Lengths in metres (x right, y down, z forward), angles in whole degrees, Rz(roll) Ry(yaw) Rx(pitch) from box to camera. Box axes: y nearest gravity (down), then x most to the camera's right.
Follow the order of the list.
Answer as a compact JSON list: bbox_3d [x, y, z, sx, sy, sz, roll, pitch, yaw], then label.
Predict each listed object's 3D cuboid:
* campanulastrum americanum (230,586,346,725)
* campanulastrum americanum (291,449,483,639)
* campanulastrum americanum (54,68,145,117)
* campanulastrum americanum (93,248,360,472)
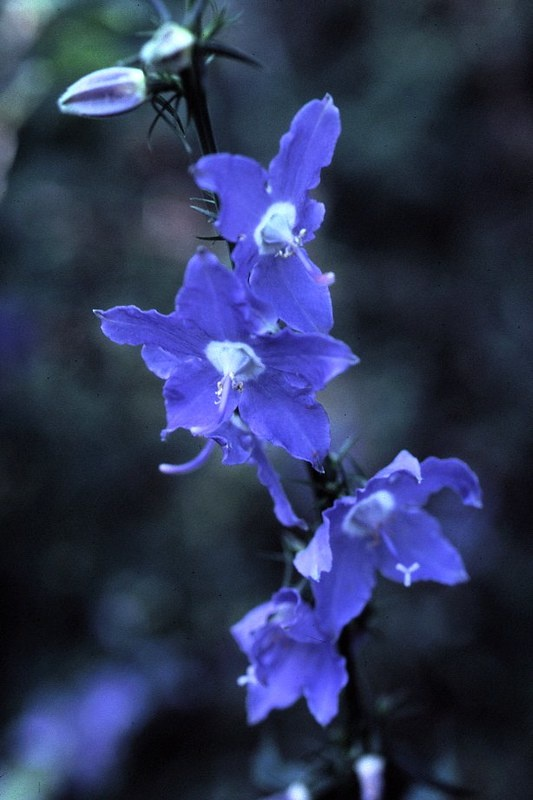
[{"bbox_3d":[0.039,0.447,1.459,0.186,0.220,0.219,-8,-42,-2],"label":"campanulastrum americanum"},{"bbox_3d":[0.187,0.234,1.564,0.386,0.389,0.142,-14,-75,4],"label":"campanulastrum americanum"},{"bbox_3d":[-0.299,-0.543,1.495,0.145,0.048,0.084,-14,-32,4],"label":"campanulastrum americanum"},{"bbox_3d":[-0.060,-0.094,1.472,0.485,0.172,0.390,9,-12,-12],"label":"campanulastrum americanum"}]
